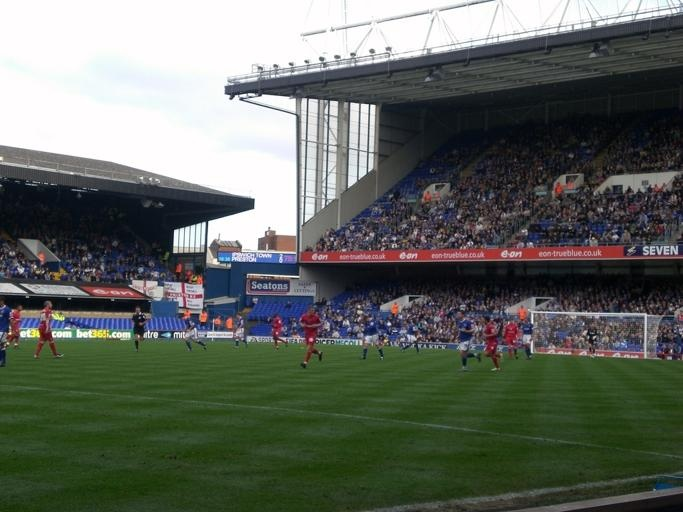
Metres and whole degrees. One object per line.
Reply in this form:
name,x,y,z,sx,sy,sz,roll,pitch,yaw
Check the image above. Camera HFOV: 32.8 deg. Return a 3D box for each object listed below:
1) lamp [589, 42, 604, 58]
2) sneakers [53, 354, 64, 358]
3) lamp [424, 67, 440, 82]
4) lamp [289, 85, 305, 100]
lamp,12.759,-10.190,57.749,0.627,0.625,1.022,2,4,8
sneakers,-10.782,3.773,44.077,0.477,0.204,0.176,0,-3,22
lamp,5.117,-9.781,63.183,0.721,0.512,0.557,-4,-5,40
lamp,-2.609,-9.763,69.600,0.894,0.541,3.048,1,4,-2
